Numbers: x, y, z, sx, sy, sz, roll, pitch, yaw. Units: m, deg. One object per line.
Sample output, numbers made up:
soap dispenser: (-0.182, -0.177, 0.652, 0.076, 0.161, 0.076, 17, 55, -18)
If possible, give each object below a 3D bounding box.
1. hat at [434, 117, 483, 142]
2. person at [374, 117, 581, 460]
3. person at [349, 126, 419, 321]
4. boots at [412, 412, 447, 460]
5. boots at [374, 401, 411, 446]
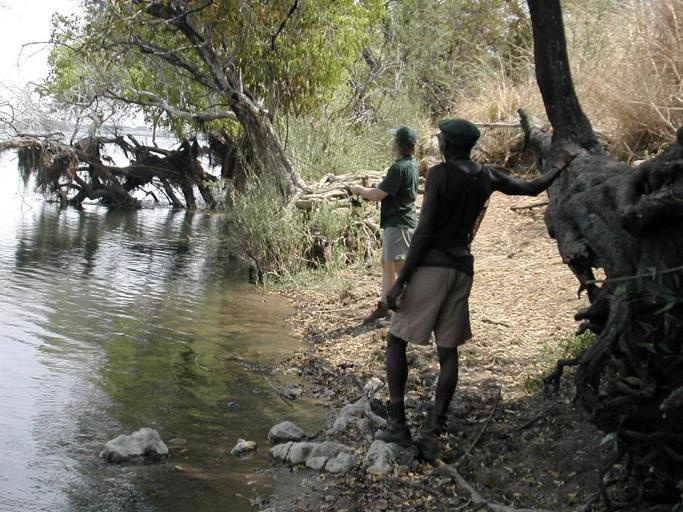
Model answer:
hat: (1.007, -1.078, 5.686, 0.359, 0.228, 0.196, 0, 4, 0)
person: (0.983, 0.301, 5.865, 1.219, 2.990, 0.397, -1, 5, -9)
person: (0.559, -0.570, 8.303, 0.904, 2.014, 0.827, 18, 14, 25)
boots: (0.794, 1.637, 6.002, 0.237, 0.410, 0.448, 7, -10, -19)
boots: (0.490, 1.564, 6.084, 0.413, 0.381, 0.194, -17, -13, 41)
